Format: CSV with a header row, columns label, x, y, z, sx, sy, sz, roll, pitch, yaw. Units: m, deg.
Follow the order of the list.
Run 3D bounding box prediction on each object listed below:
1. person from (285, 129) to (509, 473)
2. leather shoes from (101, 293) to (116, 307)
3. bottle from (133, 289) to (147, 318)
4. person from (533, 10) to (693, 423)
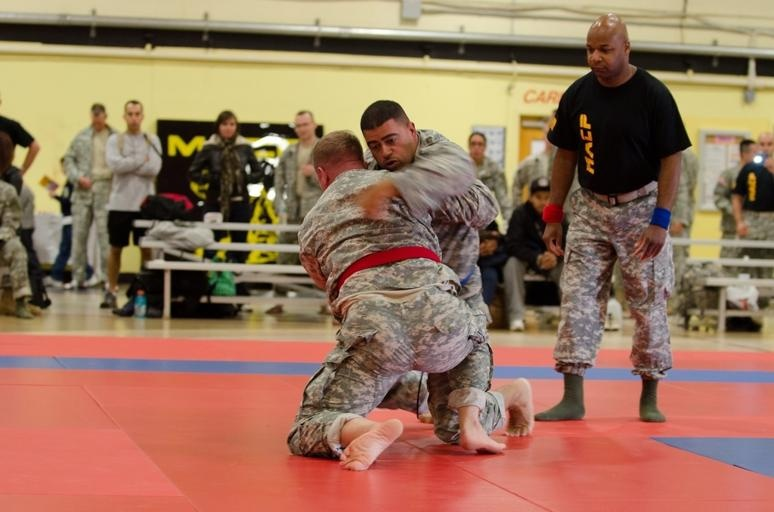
label,x,y,z,sx,sy,sz,roll,pitch,yaw
person,-0.013,0.258,6.295,1.181,2.056,0.817,3,11,3
leather shoes,-3.246,0.506,11.597,0.210,0.194,0.195,-2,-3,23
bottle,-2.690,0.512,10.780,0.129,0.298,0.139,2,11,0
person,1.635,-0.293,7.133,1.012,2.876,0.604,5,11,11
